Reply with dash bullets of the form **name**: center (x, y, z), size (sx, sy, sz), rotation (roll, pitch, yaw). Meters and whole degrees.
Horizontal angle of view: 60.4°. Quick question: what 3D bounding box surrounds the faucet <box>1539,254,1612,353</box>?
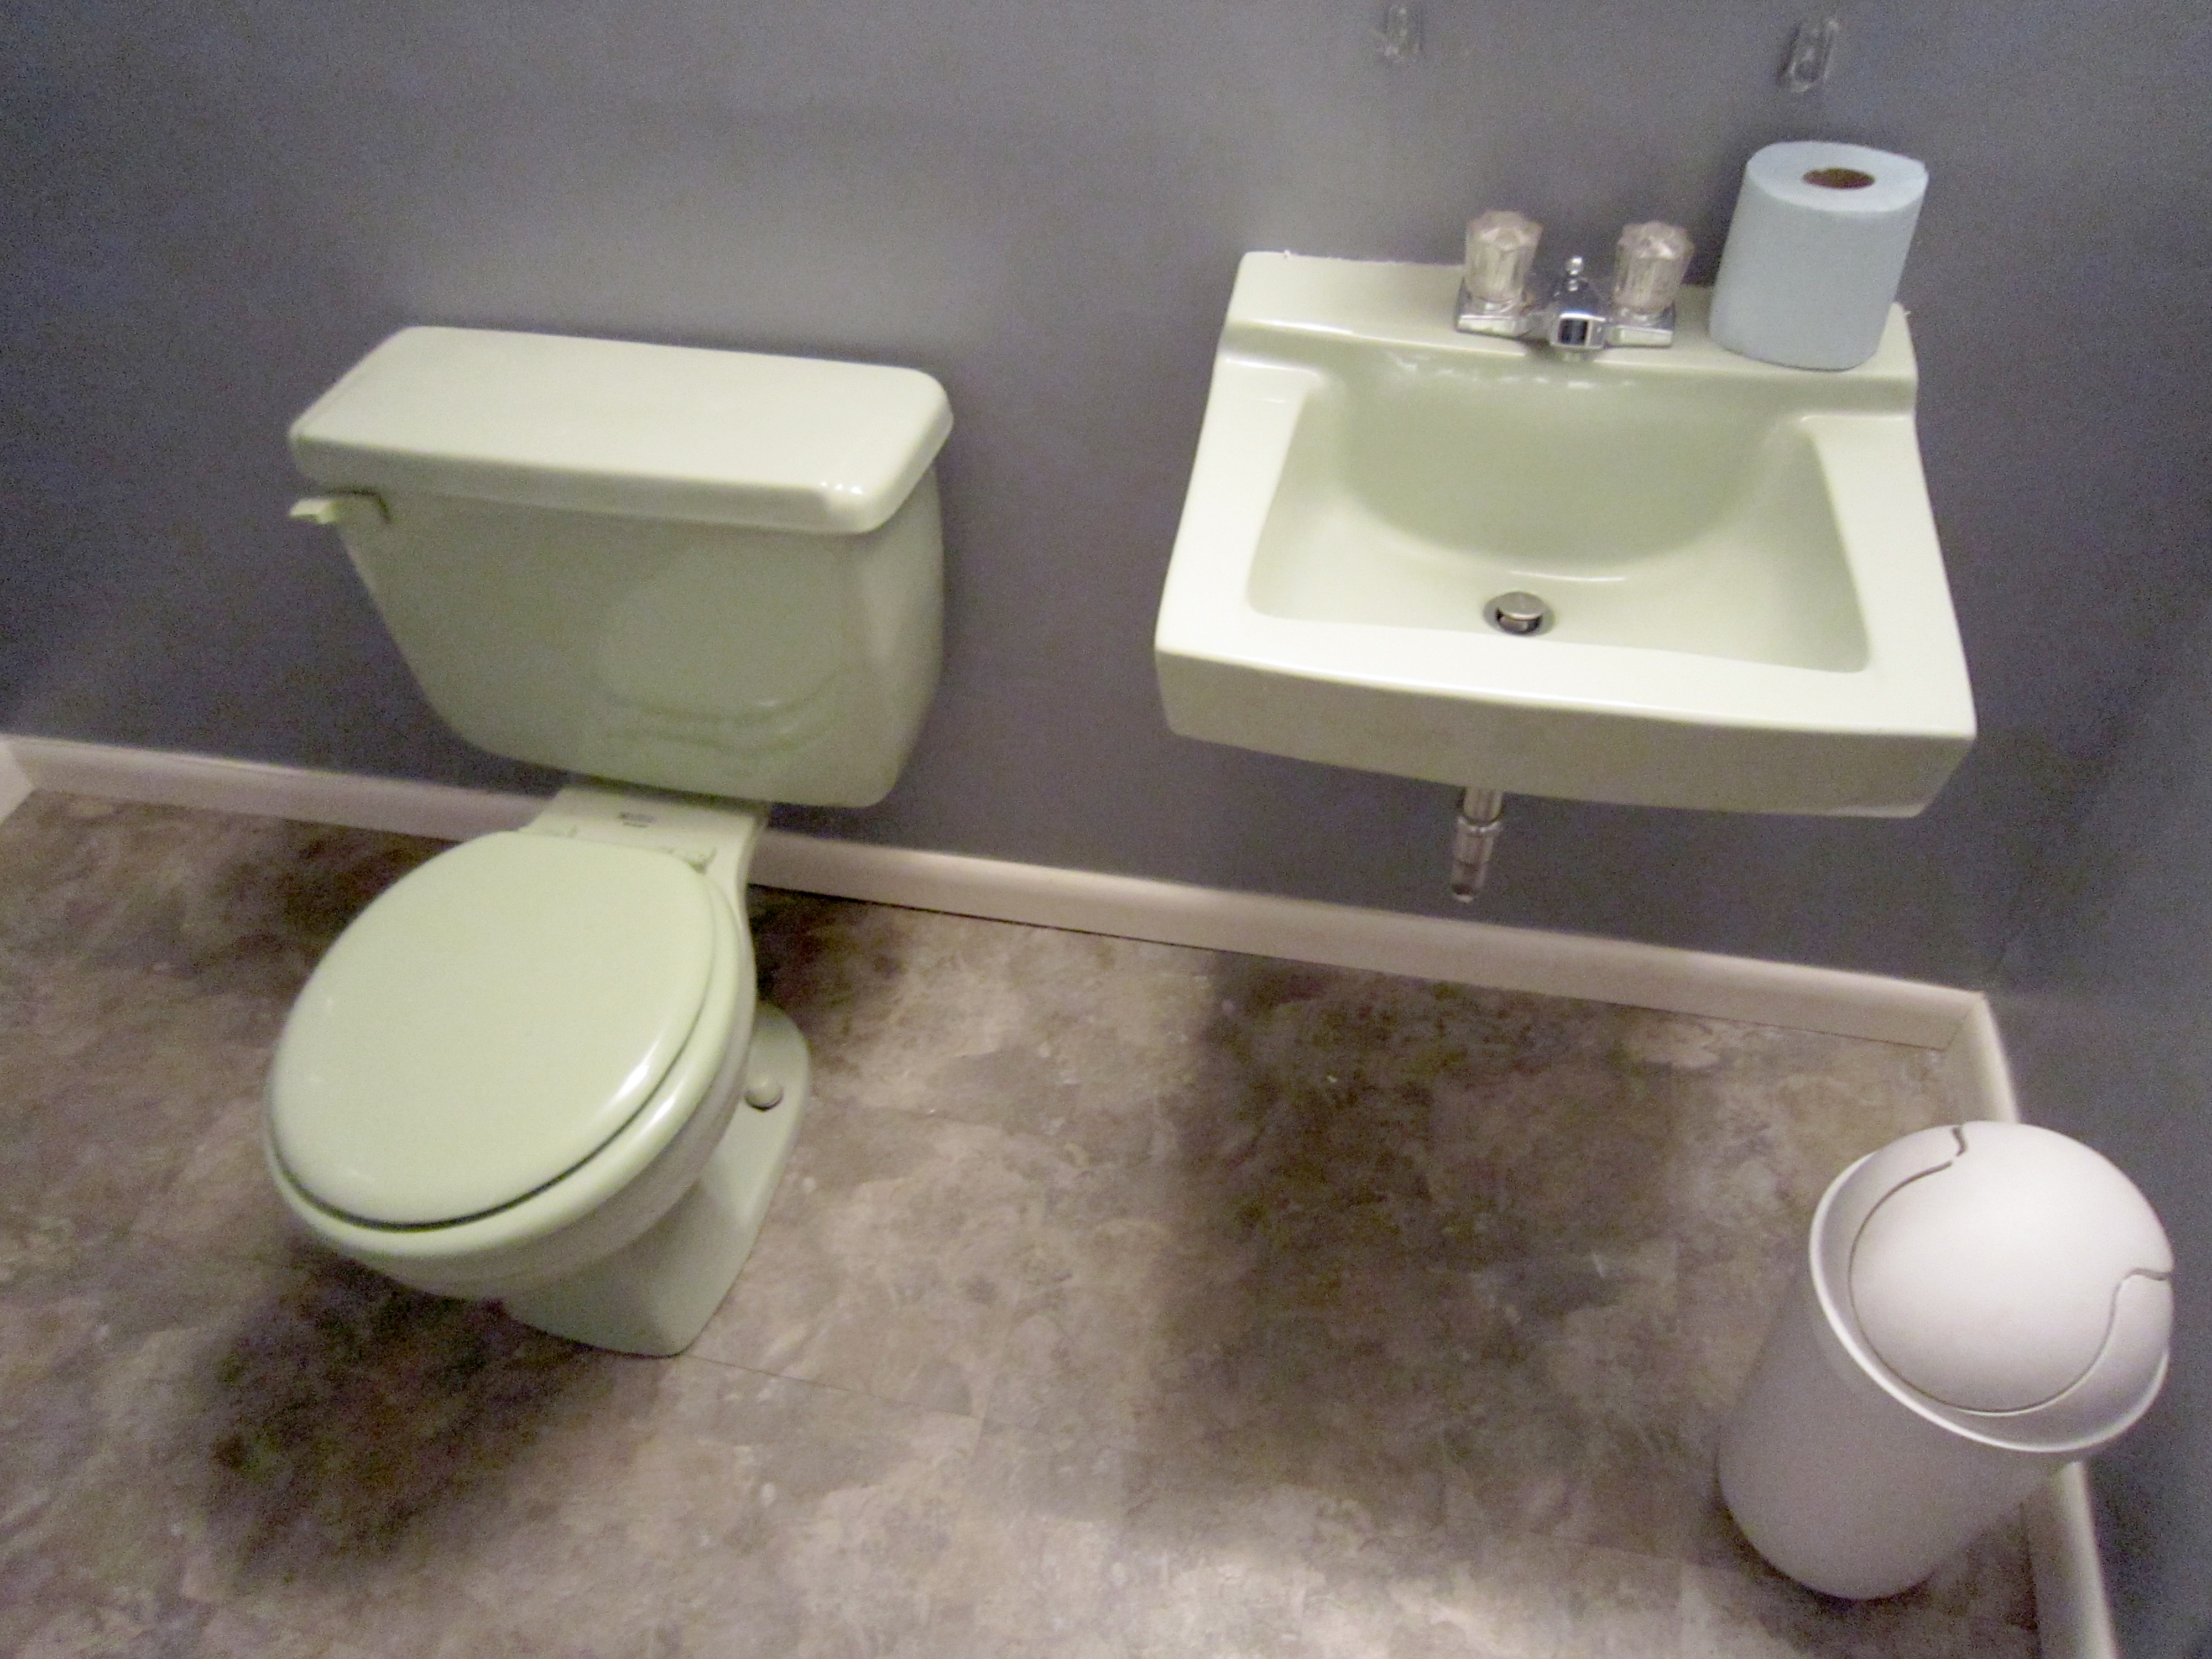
- **faucet**: center (0.461, -0.509, 1.847), size (0.071, 0.068, 0.084), rotation (6, 48, 3)

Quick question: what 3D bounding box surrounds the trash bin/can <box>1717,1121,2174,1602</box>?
- **trash bin/can**: center (0.827, 0.533, 1.831), size (0.292, 0.573, 0.326), rotation (-10, 55, -9)

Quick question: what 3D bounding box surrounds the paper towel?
- **paper towel**: center (0.641, -0.535, 1.855), size (0.211, 0.209, 0.204), rotation (-3, 42, -4)

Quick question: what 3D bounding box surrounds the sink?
- **sink**: center (0.425, -0.274, 1.810), size (0.698, 0.261, 0.487), rotation (7, 48, 4)
